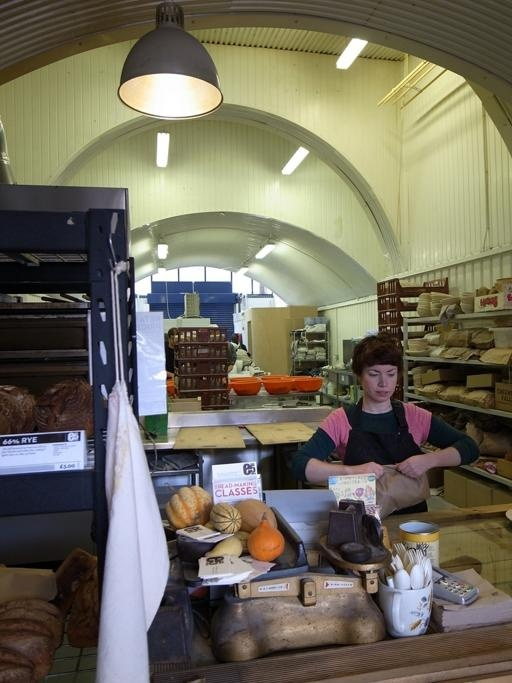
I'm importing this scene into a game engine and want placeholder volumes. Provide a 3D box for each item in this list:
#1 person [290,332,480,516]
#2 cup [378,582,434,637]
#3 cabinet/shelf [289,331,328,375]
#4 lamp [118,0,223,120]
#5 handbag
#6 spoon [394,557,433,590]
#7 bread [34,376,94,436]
[{"bbox_3d":[0.560,0.267,2.302,0.748,0.593,0.498,-5,5,-42],"label":"person"},{"bbox_3d":[0.287,0.531,1.051,0.078,0.083,0.118,2,-20,1],"label":"cup"},{"bbox_3d":[1.306,0.226,11.909,1.048,1.333,0.697,1,-2,-2],"label":"cabinet/shelf"},{"bbox_3d":[-0.440,-1.465,2.668,0.513,0.560,0.459,-4,4,-28],"label":"lamp"},{"bbox_3d":[0.556,0.581,2.119,0.343,0.213,0.135,-12,7,-20],"label":"handbag"},{"bbox_3d":[0.312,0.468,1.063,0.039,0.030,0.133,-3,-5,32],"label":"spoon"},{"bbox_3d":[-0.406,0.142,1.126,0.105,0.117,0.053,-5,-27,-20],"label":"bread"}]
